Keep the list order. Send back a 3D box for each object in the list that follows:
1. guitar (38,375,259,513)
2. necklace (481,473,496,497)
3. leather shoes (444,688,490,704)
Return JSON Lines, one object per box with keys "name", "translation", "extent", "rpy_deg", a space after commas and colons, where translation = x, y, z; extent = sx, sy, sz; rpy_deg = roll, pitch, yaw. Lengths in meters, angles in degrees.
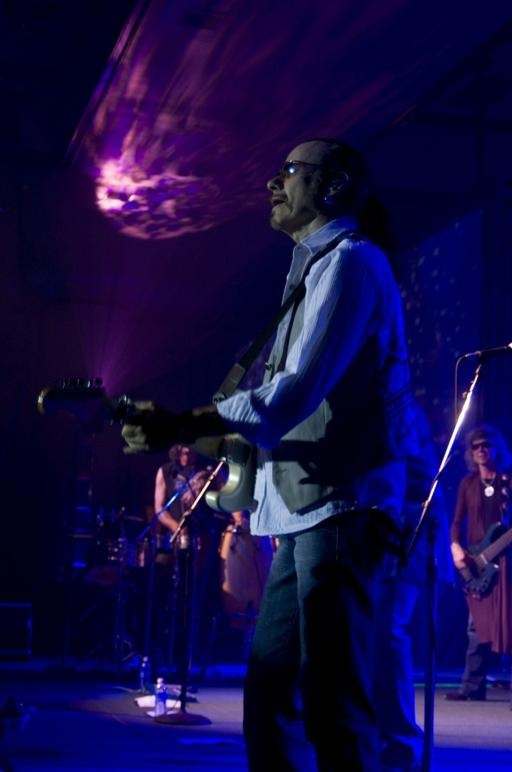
{"name": "guitar", "translation": [-0.172, 0.073, 1.830], "extent": [0.575, 0.290, 0.079], "rpy_deg": [11, 31, 23]}
{"name": "necklace", "translation": [1.764, 0.750, 6.278], "extent": [0.082, 0.174, 0.024], "rpy_deg": [-9, -16, 36]}
{"name": "leather shoes", "translation": [1.495, 2.213, 5.928], "extent": [0.317, 0.128, 0.109], "rpy_deg": [6, -22, 0]}
